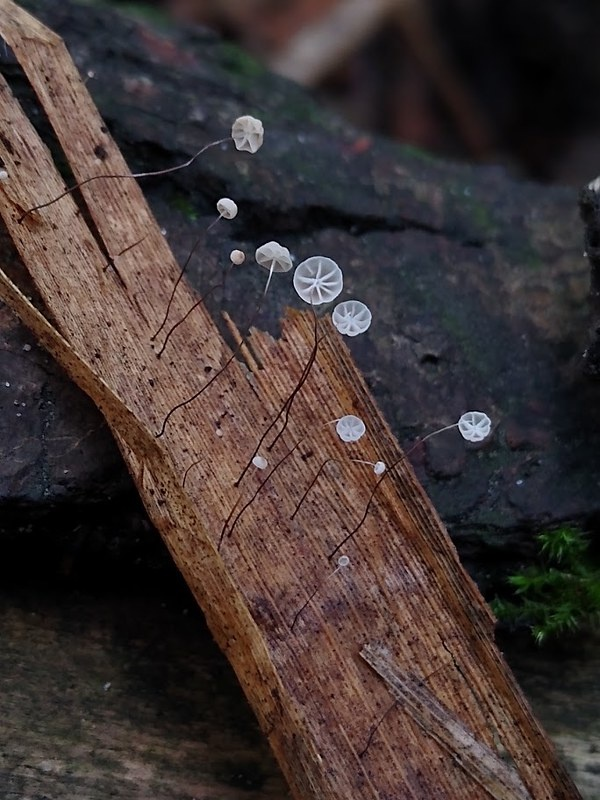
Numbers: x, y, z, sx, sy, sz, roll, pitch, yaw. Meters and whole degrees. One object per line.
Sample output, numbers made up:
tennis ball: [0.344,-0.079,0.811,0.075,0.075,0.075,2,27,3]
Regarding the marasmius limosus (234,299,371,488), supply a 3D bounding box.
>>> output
marasmius limosus: [0.113,-0.171,6.895,0.784,1.464,0.691,1,27,26]
